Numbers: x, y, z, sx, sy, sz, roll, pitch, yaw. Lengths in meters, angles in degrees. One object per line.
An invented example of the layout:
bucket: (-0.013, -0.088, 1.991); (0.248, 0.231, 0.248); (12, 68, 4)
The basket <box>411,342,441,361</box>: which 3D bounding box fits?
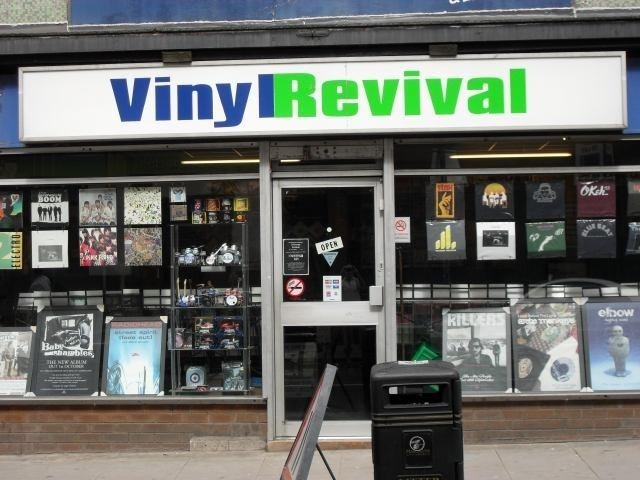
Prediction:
basket: (1.313, 1.376, 11.202); (0.351, 0.207, 0.083); (-2, -5, 5)
